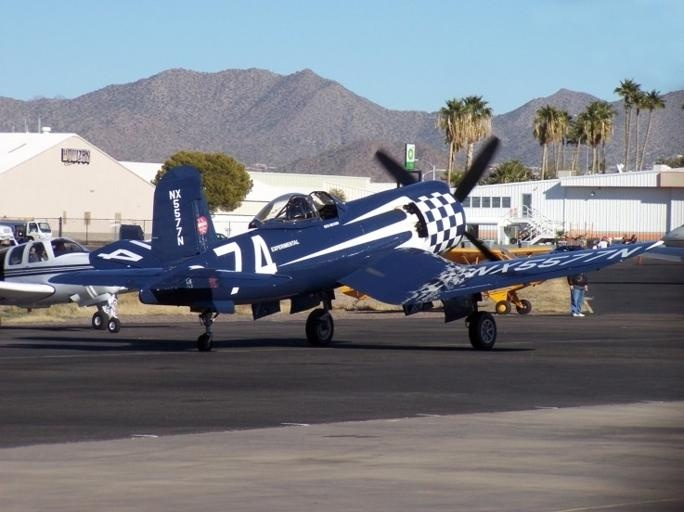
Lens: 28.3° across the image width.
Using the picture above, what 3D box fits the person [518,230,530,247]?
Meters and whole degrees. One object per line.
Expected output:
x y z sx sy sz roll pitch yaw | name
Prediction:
12.630 -1.090 93.804 1.048 0.445 1.126 -12 14 4 | person
